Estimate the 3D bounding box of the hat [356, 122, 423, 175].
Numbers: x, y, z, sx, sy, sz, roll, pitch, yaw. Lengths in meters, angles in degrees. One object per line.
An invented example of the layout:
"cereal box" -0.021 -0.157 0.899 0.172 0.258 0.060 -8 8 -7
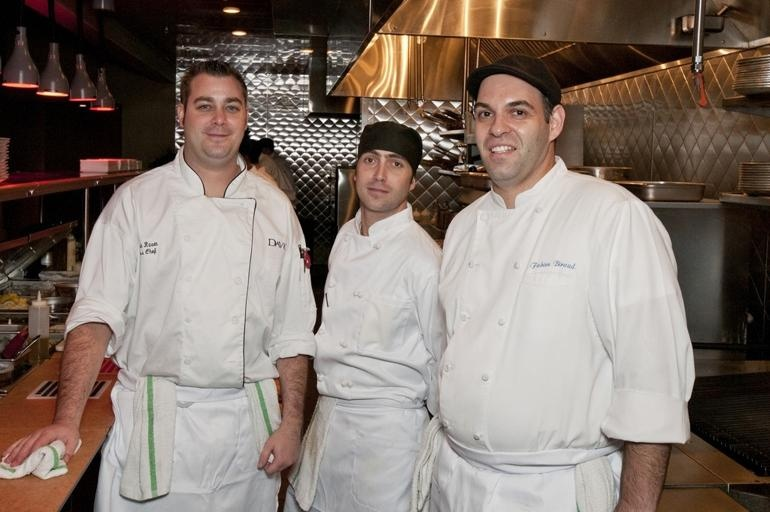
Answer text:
"hat" 0.052 -0.512 2.700 0.363 0.230 0.345 -11 21 -33
